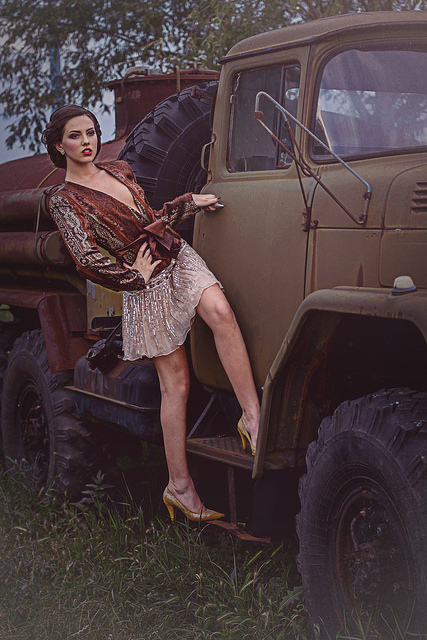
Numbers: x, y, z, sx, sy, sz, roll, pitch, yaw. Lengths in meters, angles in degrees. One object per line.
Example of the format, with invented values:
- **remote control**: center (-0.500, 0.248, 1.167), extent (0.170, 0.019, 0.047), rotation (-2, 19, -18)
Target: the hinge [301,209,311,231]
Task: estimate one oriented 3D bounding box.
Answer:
- **hinge**: center (0.359, -0.395, 2.150), extent (0.020, 0.082, 0.042), rotation (-8, 21, -26)
